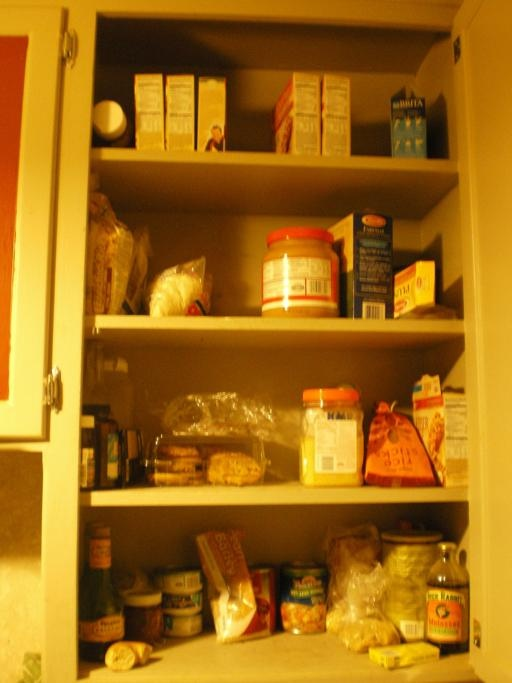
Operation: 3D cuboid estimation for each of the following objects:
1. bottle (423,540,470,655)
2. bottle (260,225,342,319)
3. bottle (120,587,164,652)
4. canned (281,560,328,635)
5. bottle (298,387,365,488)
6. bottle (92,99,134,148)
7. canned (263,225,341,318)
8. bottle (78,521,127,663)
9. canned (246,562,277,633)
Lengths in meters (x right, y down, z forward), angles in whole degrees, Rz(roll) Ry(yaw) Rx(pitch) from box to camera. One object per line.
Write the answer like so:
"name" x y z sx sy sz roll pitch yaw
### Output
"bottle" 0.359 0.451 1.209 0.077 0.185 0.123 -5 -4 42
"bottle" 0.087 -0.114 1.273 0.147 0.197 0.160 -1 -6 0
"bottle" -0.209 0.507 1.237 0.066 0.096 0.073 -1 -6 -7
"canned" 0.095 0.506 1.352 0.089 0.134 0.100 -2 -7 27
"bottle" 0.139 0.190 1.253 0.124 0.189 0.136 2 -19 1
"bottle" -0.265 -0.394 1.226 0.064 0.086 0.119 3 0 0
"canned" 0.091 -0.108 1.267 0.129 0.187 0.144 -5 -14 28
"bottle" -0.280 0.438 1.176 0.092 0.208 0.099 -2 -3 0
"canned" 0.018 0.486 1.293 0.076 0.116 0.089 1 -2 12
